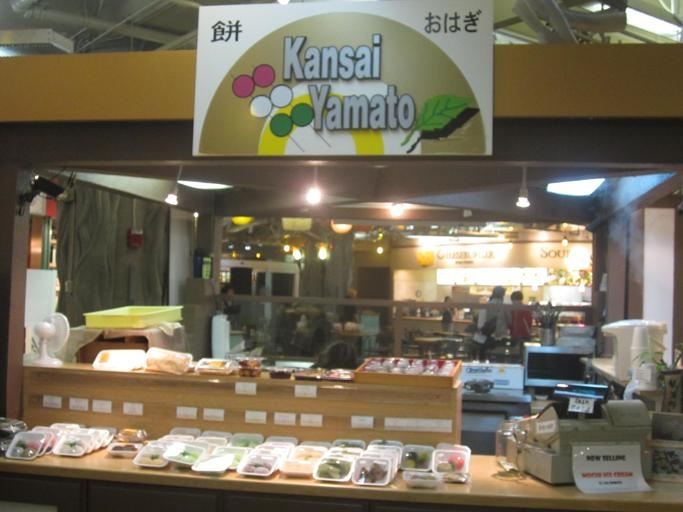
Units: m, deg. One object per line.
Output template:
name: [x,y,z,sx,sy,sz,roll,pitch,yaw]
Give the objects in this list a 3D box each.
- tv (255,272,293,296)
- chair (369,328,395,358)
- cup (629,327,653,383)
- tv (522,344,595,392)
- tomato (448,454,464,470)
tv: [-0.926,0.379,9.463,0.540,0.317,0.119,1,-3,-10]
chair: [0.569,1.147,8.777,0.296,0.457,0.325,0,-7,10]
cup: [2.414,0.773,5.458,0.161,0.444,0.310,-1,-3,24]
tv: [2.501,1.209,7.879,0.731,0.504,0.421,1,14,19]
tomato: [0.759,1.351,4.441,0.072,0.045,0.072,-2,7,-28]
